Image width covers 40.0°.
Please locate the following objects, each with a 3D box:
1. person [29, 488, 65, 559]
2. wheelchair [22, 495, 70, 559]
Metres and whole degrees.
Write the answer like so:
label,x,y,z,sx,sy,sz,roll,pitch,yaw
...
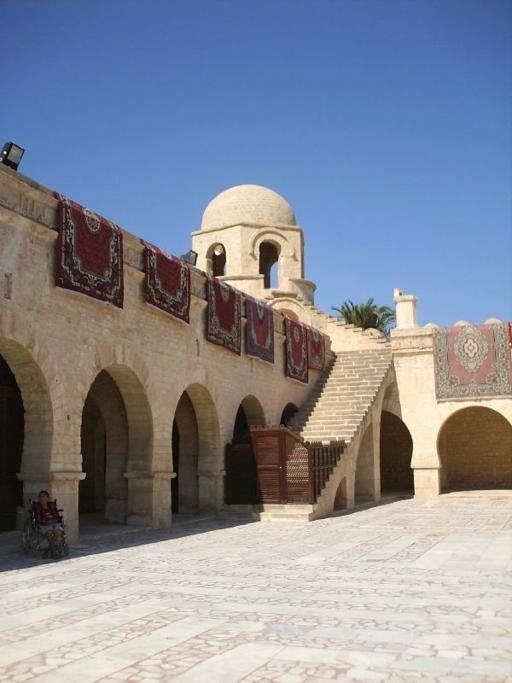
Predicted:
label,x,y,z,sx,sy,sz,roll,pitch,yaw
person,-3.022,2.648,10.146,0.498,1.045,0.880,11,-26,-41
wheelchair,-2.953,2.615,10.069,0.688,0.906,0.436,-10,-14,39
